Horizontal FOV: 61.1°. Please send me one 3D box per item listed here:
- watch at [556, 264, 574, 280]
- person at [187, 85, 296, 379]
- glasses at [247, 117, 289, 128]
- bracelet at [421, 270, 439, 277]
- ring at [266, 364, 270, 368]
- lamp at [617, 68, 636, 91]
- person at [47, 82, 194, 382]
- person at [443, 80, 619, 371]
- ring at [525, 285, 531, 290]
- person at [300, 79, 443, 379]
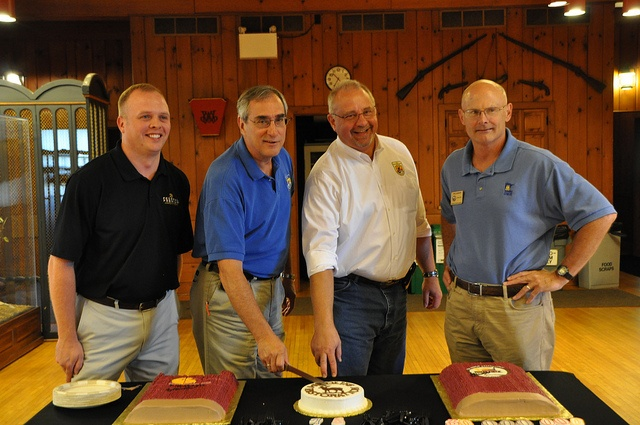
[{"bbox_3d":[1.579,0.388,3.498,0.067,0.042,0.068,39,3,-32],"label":"watch"},{"bbox_3d":[-0.510,0.224,3.437,0.722,2.003,0.870,-3,10,-6],"label":"person"},{"bbox_3d":[-0.311,-0.568,3.432,0.260,0.067,0.100,-8,12,-30],"label":"glasses"},{"bbox_3d":[0.799,0.454,3.929,0.074,0.055,0.080,-9,-10,15],"label":"bracelet"},{"bbox_3d":[-0.306,0.888,3.129,0.021,0.022,0.005,0,-2,19],"label":"ring"},{"bbox_3d":[5.111,-2.223,9.034,0.269,0.397,0.278,3,4,32],"label":"lamp"},{"bbox_3d":[-1.266,0.162,3.480,0.906,1.926,0.351,-6,10,-23],"label":"person"},{"bbox_3d":[1.315,0.084,3.590,0.941,1.889,0.433,0,10,11],"label":"person"},{"bbox_3d":[1.341,0.485,3.490,0.027,0.028,0.007,1,10,19],"label":"ring"},{"bbox_3d":[0.202,0.158,3.618,0.544,2.023,1.092,7,13,42],"label":"person"}]
